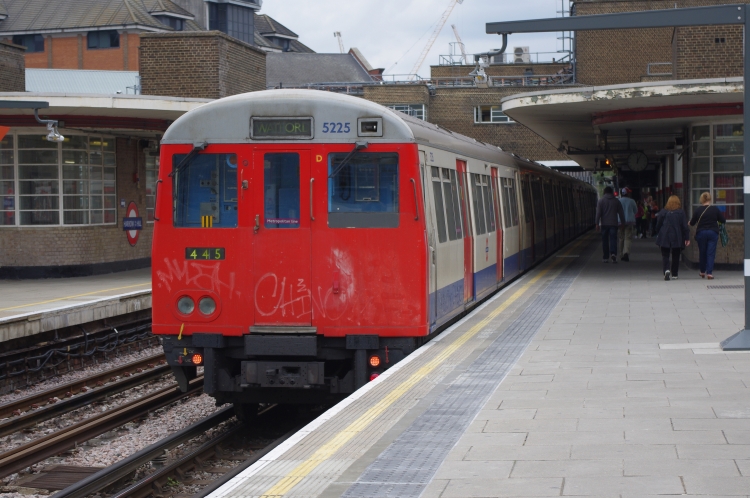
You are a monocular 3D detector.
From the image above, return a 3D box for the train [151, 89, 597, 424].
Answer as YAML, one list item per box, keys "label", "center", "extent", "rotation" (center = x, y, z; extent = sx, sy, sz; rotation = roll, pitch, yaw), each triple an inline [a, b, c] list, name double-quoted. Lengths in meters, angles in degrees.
- label: "train"
  center: [0.482, -0.099, 12.486]
  extent: [2.984, 4.796, 7.548]
  rotation: [2, 9, 34]

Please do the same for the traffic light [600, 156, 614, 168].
- label: "traffic light"
  center: [8.401, -3.120, 27.628]
  extent: [0.234, 0.288, 1.170]
  rotation: [-2, -4, 15]
